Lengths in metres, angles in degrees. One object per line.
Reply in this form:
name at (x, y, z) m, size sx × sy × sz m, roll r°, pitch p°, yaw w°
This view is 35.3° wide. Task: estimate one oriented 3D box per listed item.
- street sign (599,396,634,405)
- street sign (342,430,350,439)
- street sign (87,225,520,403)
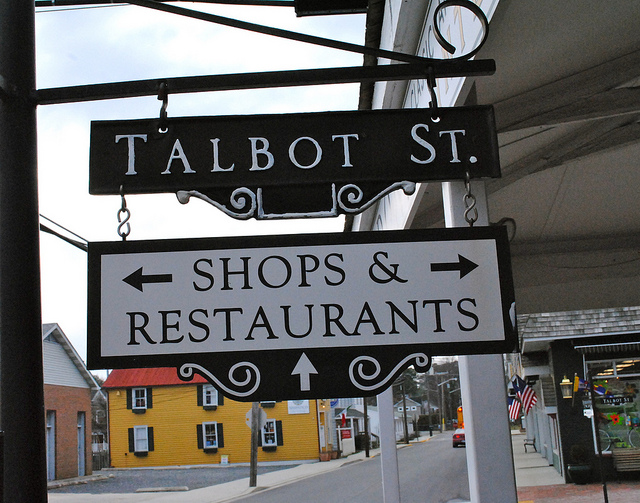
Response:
street sign at (5.487, 2.743, 18.719) m, size 0.627 × 0.168 × 0.063 m, roll -18°, pitch -18°, yaw 35°
street sign at (1.118, 7.803, 43.435) m, size 0.301 × 0.348 × 0.939 m, roll -6°, pitch -15°, yaw 3°
street sign at (-0.038, 0.336, 5.868) m, size 1.616 × 0.784 × 0.041 m, roll -2°, pitch -14°, yaw -1°
